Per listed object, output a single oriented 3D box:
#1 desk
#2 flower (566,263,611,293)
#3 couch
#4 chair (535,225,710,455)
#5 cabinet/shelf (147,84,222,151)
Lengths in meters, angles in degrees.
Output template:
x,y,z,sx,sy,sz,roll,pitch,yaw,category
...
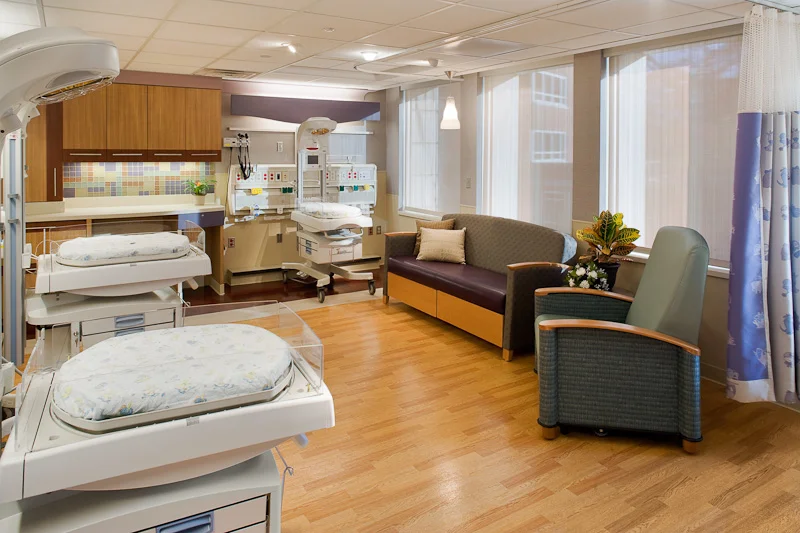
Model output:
x,y,z,sx,sy,sz,roll,pitch,yaw,category
-3.049,-0.164,6.614,2.143,1.250,0.945,-7,14,-30,desk
1.629,0.111,4.893,0.306,0.186,0.271,7,3,23,flower
0.772,0.090,6.164,0.897,1.133,2.274,-10,16,-29,couch
1.619,0.439,4.288,1.285,1.308,1.199,-3,12,7,chair
-2.623,-1.788,6.741,0.997,0.742,0.304,-1,3,-31,cabinet/shelf
